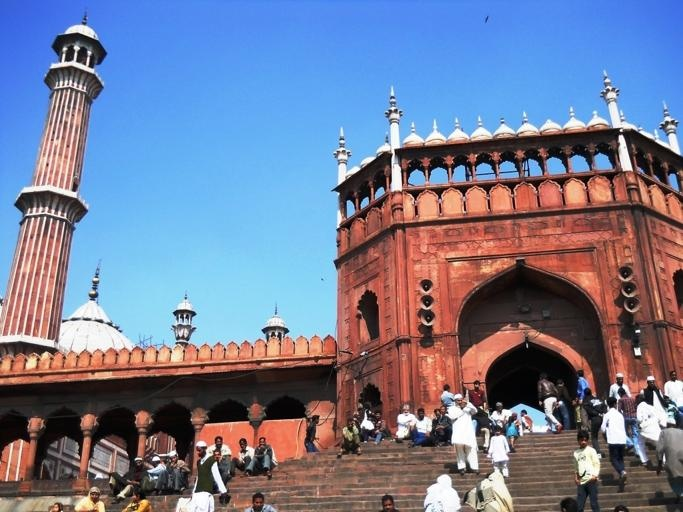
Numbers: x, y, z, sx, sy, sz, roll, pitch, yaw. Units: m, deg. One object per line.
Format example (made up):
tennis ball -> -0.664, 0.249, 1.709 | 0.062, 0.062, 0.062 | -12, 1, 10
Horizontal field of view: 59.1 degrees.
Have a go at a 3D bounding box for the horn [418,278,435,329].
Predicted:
horn -> 2.187, 1.223, 15.554 | 0.456, 1.164, 0.454 | -7, -46, 7

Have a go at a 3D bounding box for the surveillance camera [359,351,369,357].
surveillance camera -> 0.600, 2.661, 16.324 | 0.138, 0.209, 0.321 | 10, -26, -28

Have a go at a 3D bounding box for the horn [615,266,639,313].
horn -> 7.126, 0.852, 14.977 | 0.546, 1.011, 0.486 | -15, -60, 10
